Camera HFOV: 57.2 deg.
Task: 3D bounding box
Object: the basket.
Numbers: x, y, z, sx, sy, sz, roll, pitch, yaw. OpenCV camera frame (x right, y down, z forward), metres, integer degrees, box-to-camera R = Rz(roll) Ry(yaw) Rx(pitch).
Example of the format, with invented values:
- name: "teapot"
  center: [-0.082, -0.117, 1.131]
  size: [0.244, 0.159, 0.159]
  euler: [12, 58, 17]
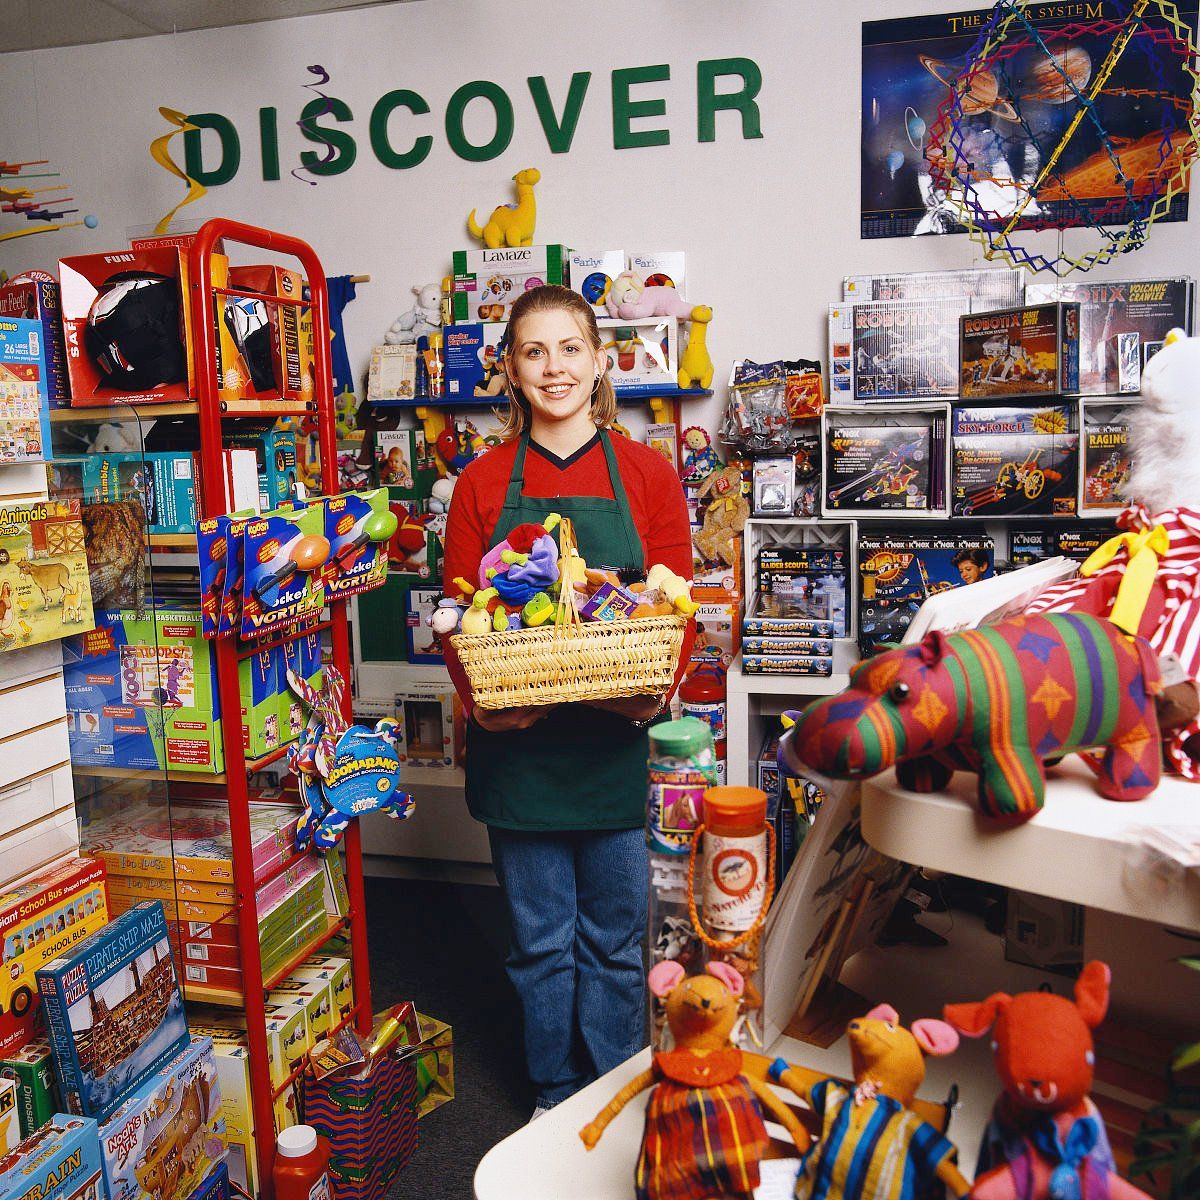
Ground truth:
- name: "basket"
  center: [0.002, 0.097, 1.599]
  size: [0.309, 0.144, 0.411]
  euler: [-6, 0, 10]
